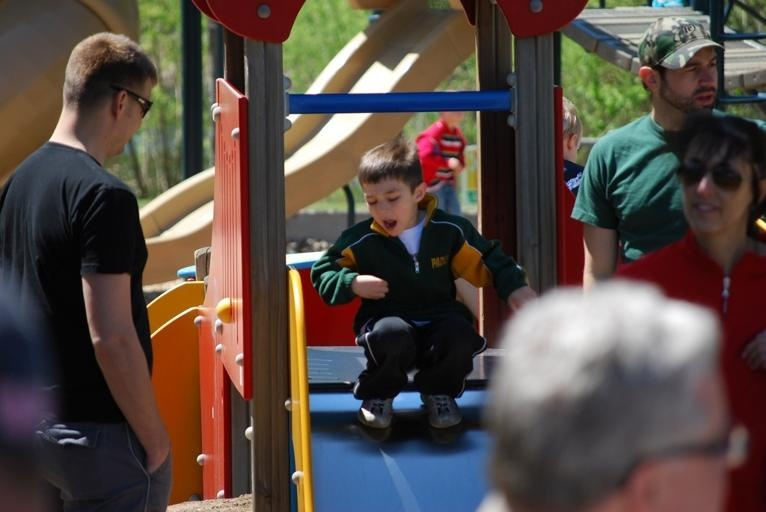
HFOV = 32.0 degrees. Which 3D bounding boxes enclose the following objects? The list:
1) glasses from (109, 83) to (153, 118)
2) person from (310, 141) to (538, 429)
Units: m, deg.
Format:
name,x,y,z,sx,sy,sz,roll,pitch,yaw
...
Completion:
name,x,y,z,sx,sy,sz,roll,pitch,yaw
glasses,-1.151,-0.737,6.147,0.134,0.049,0.144,31,-3,-12
person,0.213,0.175,6.812,0.892,1.491,0.646,-1,-10,-5
